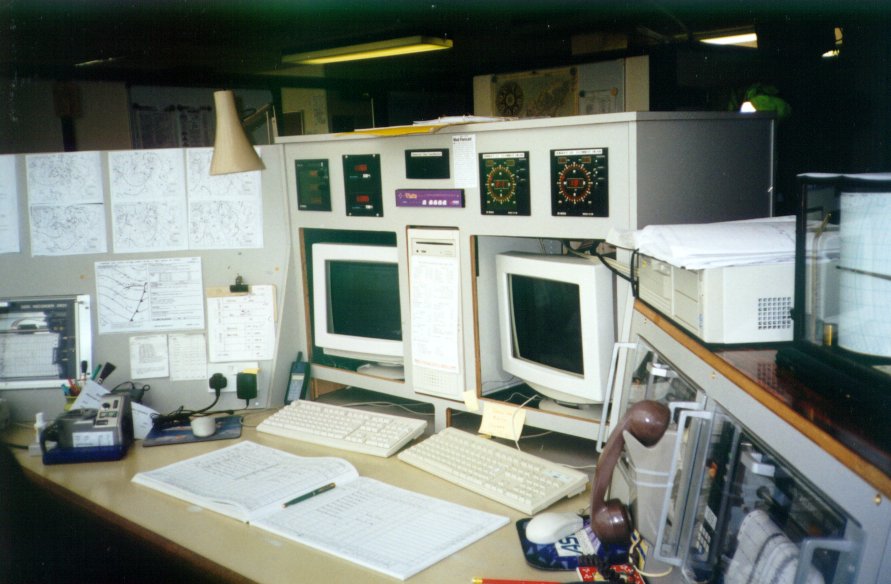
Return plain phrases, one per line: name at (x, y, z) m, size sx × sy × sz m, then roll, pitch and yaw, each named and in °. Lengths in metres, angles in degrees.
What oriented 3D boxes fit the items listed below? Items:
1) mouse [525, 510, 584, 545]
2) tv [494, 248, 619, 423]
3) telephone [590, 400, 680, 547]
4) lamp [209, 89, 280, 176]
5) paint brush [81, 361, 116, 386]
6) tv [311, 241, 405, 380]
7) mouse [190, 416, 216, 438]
mouse at (0.280, 0.610, 1.832) m, size 0.121 × 0.040 × 0.075 m, roll -15°, pitch 21°, yaw -19°
tv at (0.365, 0.133, 2.200) m, size 0.299 × 0.521 × 0.526 m, roll -9°, pitch 12°, yaw -41°
telephone at (0.421, 0.413, 1.642) m, size 0.155 × 0.365 × 0.211 m, roll -4°, pitch 10°, yaw -6°
lamp at (-0.782, -0.590, 2.539) m, size 0.198 × 0.296 × 0.139 m, roll -9°, pitch 12°, yaw -29°
paint brush at (-1.272, 0.303, 2.558) m, size 0.108 × 0.082 × 0.122 m, roll -8°, pitch 11°, yaw -27°
tv at (-0.344, 0.036, 2.626) m, size 0.428 × 0.447 × 0.099 m, roll 4°, pitch 13°, yaw 32°
mouse at (-0.850, 0.471, 2.436) m, size 0.065 × 0.058 × 0.083 m, roll -3°, pitch 3°, yaw -40°
